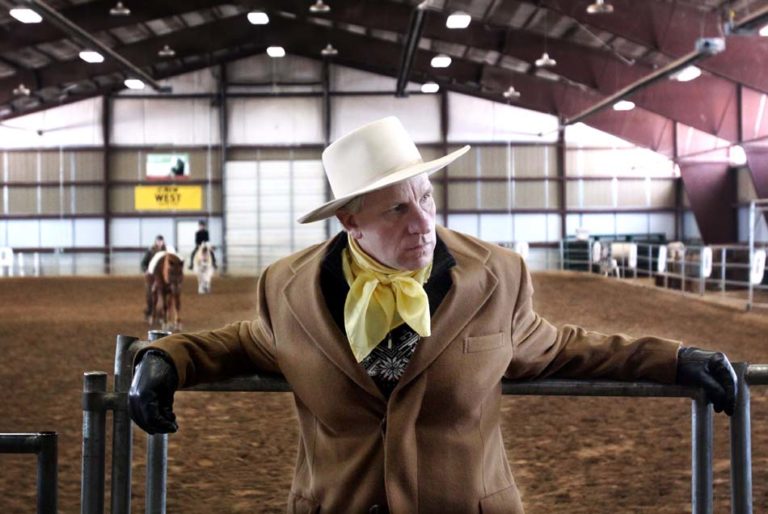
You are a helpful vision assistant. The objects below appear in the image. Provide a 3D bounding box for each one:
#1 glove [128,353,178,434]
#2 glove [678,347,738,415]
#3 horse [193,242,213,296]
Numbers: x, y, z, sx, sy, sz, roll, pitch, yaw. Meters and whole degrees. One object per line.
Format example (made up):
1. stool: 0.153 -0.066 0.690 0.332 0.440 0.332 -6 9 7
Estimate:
1. glove: -2.937 1.752 13.578 0.617 1.101 0.173 1 4 8
2. glove: 4.153 1.548 13.577 0.776 0.850 0.351 4 9 9
3. horse: -3.764 0.307 22.277 0.328 0.842 1.152 3 -11 -12
